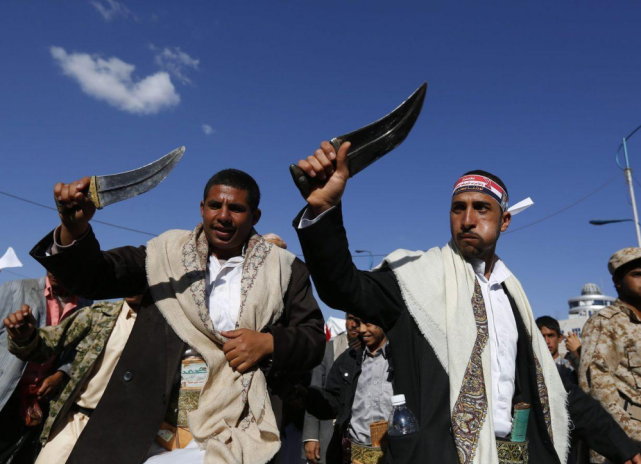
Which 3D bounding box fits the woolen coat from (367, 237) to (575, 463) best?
[{"bbox_3d":[1.176,1.040,4.104,1.447,2.055,0.875,13,-33,-26],"label":"woolen coat"}]
